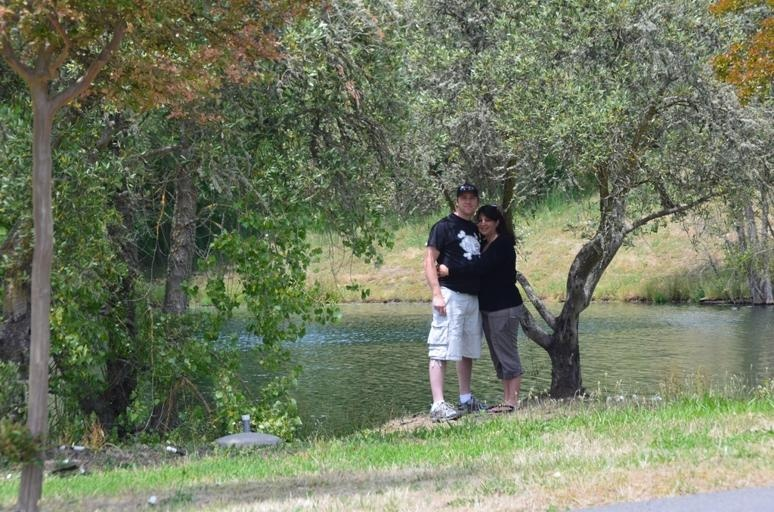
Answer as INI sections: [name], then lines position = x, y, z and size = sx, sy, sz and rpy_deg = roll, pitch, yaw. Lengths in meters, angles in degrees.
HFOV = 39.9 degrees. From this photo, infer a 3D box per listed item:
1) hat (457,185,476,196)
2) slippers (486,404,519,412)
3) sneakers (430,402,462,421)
[hat]
position = 1.279, -1.047, 17.018
size = 0.268, 0.165, 0.378
rpy_deg = 2, -3, -2
[slippers]
position = 1.911, 2.534, 17.542
size = 0.446, 0.199, 0.180
rpy_deg = 1, -4, -4
[sneakers]
position = 0.861, 2.564, 17.246
size = 0.556, 0.276, 0.283
rpy_deg = -6, -2, 43
